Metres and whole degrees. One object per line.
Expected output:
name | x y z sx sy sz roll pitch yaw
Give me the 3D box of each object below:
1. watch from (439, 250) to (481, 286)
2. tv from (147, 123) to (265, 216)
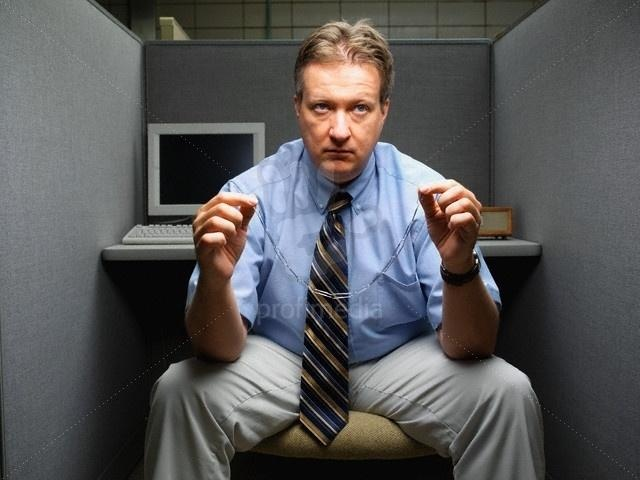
watch | 0.254 0.045 0.997 0.057 0.026 0.058 -8 -19 -45
tv | -0.250 -0.162 1.175 0.216 0.187 0.131 1 21 -15
